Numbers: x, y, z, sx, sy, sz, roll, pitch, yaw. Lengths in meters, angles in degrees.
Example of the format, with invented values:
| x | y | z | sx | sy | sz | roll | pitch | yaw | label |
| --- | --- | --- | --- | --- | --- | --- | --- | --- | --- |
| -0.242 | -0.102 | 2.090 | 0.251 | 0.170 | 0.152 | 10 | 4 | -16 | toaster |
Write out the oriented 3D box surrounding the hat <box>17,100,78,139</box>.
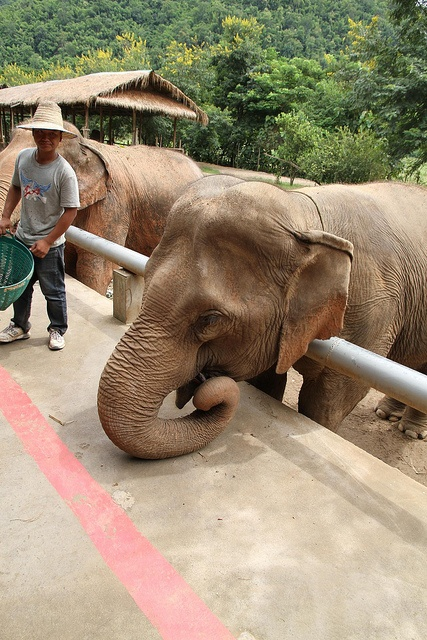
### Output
| x | y | z | sx | sy | sz | roll | pitch | yaw | label |
| --- | --- | --- | --- | --- | --- | --- | --- | --- | --- |
| -0.963 | -1.119 | 2.736 | 0.307 | 0.141 | 0.302 | 2 | 3 | -26 | hat |

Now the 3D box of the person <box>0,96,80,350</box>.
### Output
| x | y | z | sx | sy | sz | roll | pitch | yaw | label |
| --- | --- | --- | --- | --- | --- | --- | --- | --- | --- |
| -1.069 | -0.566 | 2.934 | 0.451 | 1.427 | 0.582 | 2 | 21 | -16 | person |

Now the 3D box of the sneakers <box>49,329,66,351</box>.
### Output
| x | y | z | sx | sy | sz | roll | pitch | yaw | label |
| --- | --- | --- | --- | --- | --- | --- | --- | --- | --- |
| -0.968 | 0.127 | 2.960 | 0.061 | 0.069 | 0.164 | -4 | 16 | -17 | sneakers |
